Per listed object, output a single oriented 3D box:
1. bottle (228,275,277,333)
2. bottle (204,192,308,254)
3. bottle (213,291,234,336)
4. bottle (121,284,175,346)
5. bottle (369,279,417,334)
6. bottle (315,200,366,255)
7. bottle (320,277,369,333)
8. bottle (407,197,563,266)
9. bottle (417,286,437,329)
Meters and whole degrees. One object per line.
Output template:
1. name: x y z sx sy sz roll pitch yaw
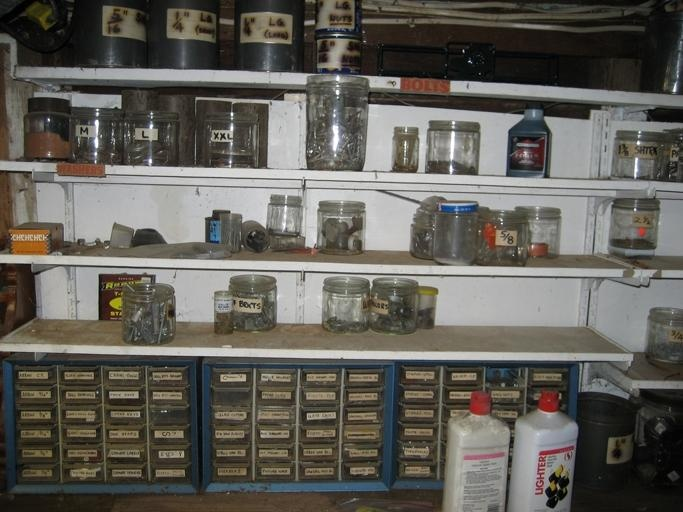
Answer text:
1. bottle: -0.406 0.222 3.726 0.232 0.226 0.232 -2 9 -9
2. bottle: -0.400 -0.153 3.640 0.454 0.259 0.231 -2 5 -6
3. bottle: -0.542 0.253 3.629 0.088 0.198 0.124 -2 5 -9
4. bottle: -0.881 0.250 3.612 0.248 0.263 0.241 -5 14 -28
5. bottle: 0.252 0.219 3.744 0.246 0.260 0.237 -3 15 -8
6. bottle: 0.002 -0.141 3.710 0.242 0.252 0.239 -4 11 -33
7. bottle: 0.023 0.224 3.750 0.225 0.248 0.235 3 9 14
8. bottle: 0.681 -0.128 3.646 0.741 0.304 0.468 -1 5 5
9. bottle: 0.382 0.232 3.785 0.122 0.180 0.116 5 15 -1
